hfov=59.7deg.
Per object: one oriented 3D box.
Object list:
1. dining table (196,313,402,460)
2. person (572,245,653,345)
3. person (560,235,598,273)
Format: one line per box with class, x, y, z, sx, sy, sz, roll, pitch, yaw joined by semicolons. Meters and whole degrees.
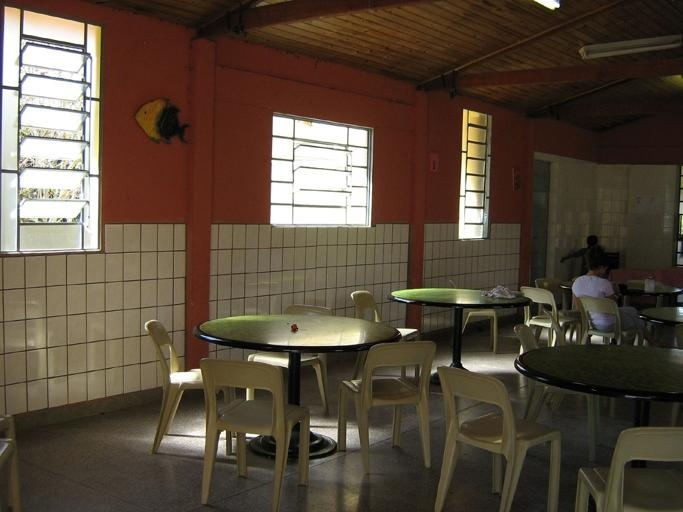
dining table;-0.356;1.103;4.497;1.126;0.761;1.175;2;-1;6
person;2.836;0.406;6.447;0.839;1.029;0.553;-2;2;-23
person;3.989;-0.028;10.039;0.620;0.762;0.208;-3;22;3
